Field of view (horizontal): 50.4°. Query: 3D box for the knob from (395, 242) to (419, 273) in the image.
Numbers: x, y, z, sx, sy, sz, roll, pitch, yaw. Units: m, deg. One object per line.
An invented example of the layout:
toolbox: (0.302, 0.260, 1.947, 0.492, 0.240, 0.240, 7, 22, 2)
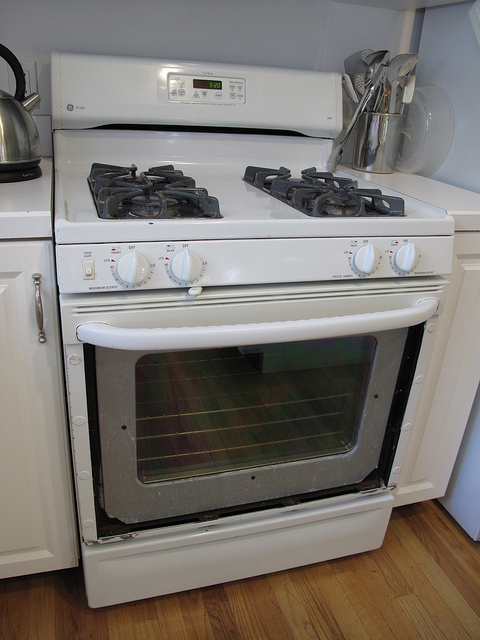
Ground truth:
knob: (0.303, -0.113, 0.928, 0.039, 0.052, 0.014, 11, 17, -9)

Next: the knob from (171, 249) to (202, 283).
knob: (-0.083, -0.083, 0.791, 0.043, 0.049, 0.016, 0, 15, -19)

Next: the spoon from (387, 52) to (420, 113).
spoon: (0.417, -0.619, 1.319, 0.073, 0.148, 0.026, 3, 37, 8)

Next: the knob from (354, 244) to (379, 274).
knob: (0.221, -0.106, 0.896, 0.043, 0.050, 0.014, 1, 16, -9)

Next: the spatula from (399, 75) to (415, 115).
spatula: (0.441, -0.601, 1.355, 0.027, 0.115, 0.046, 1, -3, -19)

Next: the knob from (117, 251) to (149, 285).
knob: (-0.162, -0.078, 0.762, 0.043, 0.049, 0.016, 5, 13, -11)
